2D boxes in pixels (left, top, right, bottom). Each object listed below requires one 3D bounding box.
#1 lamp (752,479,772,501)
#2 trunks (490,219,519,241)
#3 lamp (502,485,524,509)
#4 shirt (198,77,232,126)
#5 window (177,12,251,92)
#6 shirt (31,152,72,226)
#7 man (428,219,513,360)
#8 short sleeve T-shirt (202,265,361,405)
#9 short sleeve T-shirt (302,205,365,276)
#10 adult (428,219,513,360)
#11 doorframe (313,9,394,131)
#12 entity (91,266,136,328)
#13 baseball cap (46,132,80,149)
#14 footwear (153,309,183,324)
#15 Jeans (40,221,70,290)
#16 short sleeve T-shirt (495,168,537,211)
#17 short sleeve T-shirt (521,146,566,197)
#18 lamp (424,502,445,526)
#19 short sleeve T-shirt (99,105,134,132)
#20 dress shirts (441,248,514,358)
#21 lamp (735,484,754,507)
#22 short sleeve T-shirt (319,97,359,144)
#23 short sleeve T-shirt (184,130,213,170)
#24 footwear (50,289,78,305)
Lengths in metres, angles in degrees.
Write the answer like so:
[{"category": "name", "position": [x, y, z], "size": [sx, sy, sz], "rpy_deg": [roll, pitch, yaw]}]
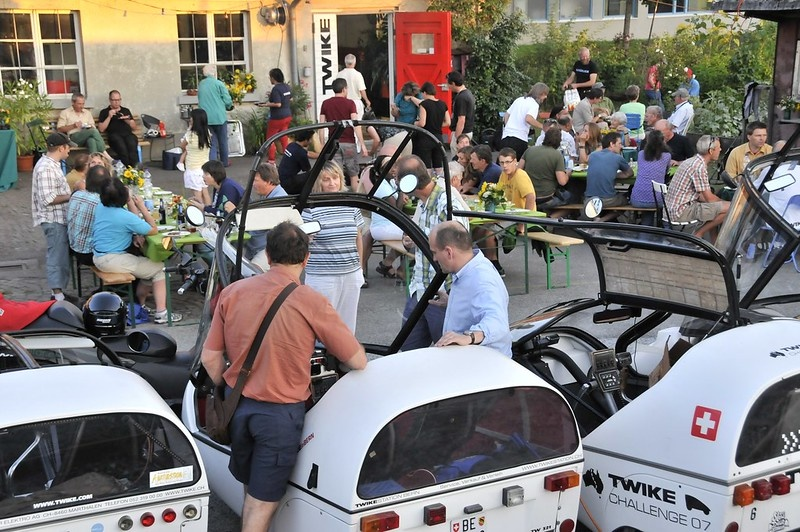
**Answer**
[{"category": "lamp", "position": [2.337, 1.452, 5.232], "size": [0.129, 0.128, 0.048], "rpy_deg": [-5, 12, -17]}, {"category": "trunks", "position": [1.483, -0.515, 11.467], "size": [0.344, 0.198, 0.470], "rpy_deg": [-4, 16, -21]}, {"category": "lamp", "position": [0.735, 1.497, 5.241], "size": [0.146, 0.126, 0.047], "rpy_deg": [-5, 12, -20]}, {"category": "shirt", "position": [-4.049, -3.626, 17.596], "size": [0.767, 1.028, 0.546], "rpy_deg": [2, 9, 6]}, {"category": "window", "position": [-4.563, -5.197, 19.545], "size": [2.230, 2.438, 0.255], "rpy_deg": [-5, 13, -31]}, {"category": "shirt", "position": [-4.686, -0.991, 10.879], "size": [0.487, 0.920, 0.607], "rpy_deg": [-6, 13, -24]}, {"category": "man", "position": [0.565, 0.198, 6.695], "size": [0.417, 1.432, 1.258], "rpy_deg": [-2, 6, -3]}, {"category": "short sleeve T-shirt", "position": [-0.818, 0.466, 5.730], "size": [1.159, 0.944, 0.573], "rpy_deg": [4, 8, -4]}, {"category": "short sleeve T-shirt", "position": [-0.700, -0.297, 8.459], "size": [0.783, 0.790, 0.450], "rpy_deg": [0, -2, -31]}, {"category": "adult", "position": [0.565, 0.198, 6.695], "size": [0.417, 1.432, 1.258], "rpy_deg": [-2, 6, -3]}, {"category": "doorframe", "position": [-1.325, -5.549, 21.570], "size": [2.155, 0.201, 4.179], "rpy_deg": [2, 50, -9]}, {"category": "entity", "position": [-3.593, 0.333, 10.298], "size": [0.522, 0.726, 0.996], "rpy_deg": [-5, 12, -19]}, {"category": "baseball cap", "position": [-4.700, -1.741, 11.144], "size": [0.265, 0.199, 0.385], "rpy_deg": [-7, 13, -28]}, {"category": "footwear", "position": [-2.923, 0.645, 10.243], "size": [0.334, 0.181, 0.144], "rpy_deg": [-2, 12, -7]}, {"category": "Jeans", "position": [-4.520, -0.132, 10.711], "size": [0.296, 0.883, 0.521], "rpy_deg": [-6, 13, -24]}, {"category": "short sleeve T-shirt", "position": [1.721, -1.117, 12.099], "size": [0.571, 0.613, 0.331], "rpy_deg": [10, 20, 36]}, {"category": "short sleeve T-shirt", "position": [2.305, -1.554, 13.309], "size": [0.808, 0.846, 0.467], "rpy_deg": [8, 6, 21]}, {"category": "lamp", "position": [0.211, 1.556, 5.062], "size": [0.125, 0.120, 0.070], "rpy_deg": [-2, 9, -21]}, {"category": "short sleeve T-shirt", "position": [-6.094, -3.125, 17.515], "size": [0.739, 0.741, 0.577], "rpy_deg": [-4, -1, -36]}, {"category": "dress shirts", "position": [0.586, 0.309, 6.285], "size": [0.275, 0.546, 0.980], "rpy_deg": [-2, 6, -23]}, {"category": "lamp", "position": [2.198, 1.474, 5.186], "size": [0.134, 0.140, 0.078], "rpy_deg": [-4, 6, -23]}, {"category": "short sleeve T-shirt", "position": [-1.180, -2.697, 15.259], "size": [0.672, 0.935, 0.331], "rpy_deg": [-2, -15, -1]}, {"category": "short sleeve T-shirt", "position": [-3.579, -2.150, 14.330], "size": [0.298, 0.388, 0.194], "rpy_deg": [-8, 6, 21]}, {"category": "footwear", "position": [-4.100, 0.378, 9.864], "size": [0.124, 0.178, 0.393], "rpy_deg": [-16, 7, -29]}]
